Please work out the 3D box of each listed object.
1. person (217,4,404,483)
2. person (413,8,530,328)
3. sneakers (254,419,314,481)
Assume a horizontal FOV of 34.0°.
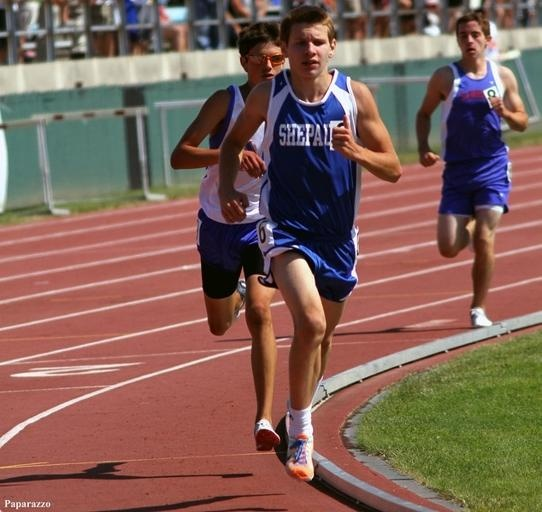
[{"bbox_3d":[0.127,-0.062,3.516,0.751,1.821,0.574,-13,10,-36],"label":"person"},{"bbox_3d":[1.317,-0.575,5.721,0.727,2.006,0.852,-7,8,1],"label":"person"},{"bbox_3d":[0.065,0.728,3.427,0.120,0.163,0.380,-6,14,-15],"label":"sneakers"}]
